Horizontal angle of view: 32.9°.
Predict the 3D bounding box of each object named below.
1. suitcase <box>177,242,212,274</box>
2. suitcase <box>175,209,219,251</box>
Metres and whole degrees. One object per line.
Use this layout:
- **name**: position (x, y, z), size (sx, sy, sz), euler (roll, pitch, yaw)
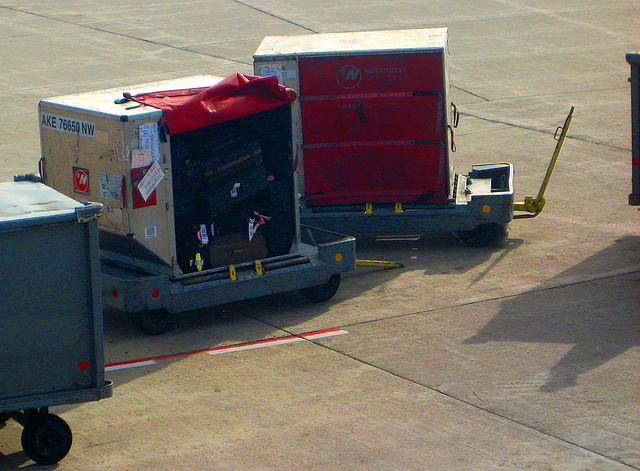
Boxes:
- **suitcase**: position (-1.740, 0.297, 15.111), size (0.672, 0.365, 0.135), euler (-3, 17, -29)
- **suitcase**: position (-1.717, -0.087, 15.047), size (0.673, 0.487, 0.460), euler (-10, 20, -20)
